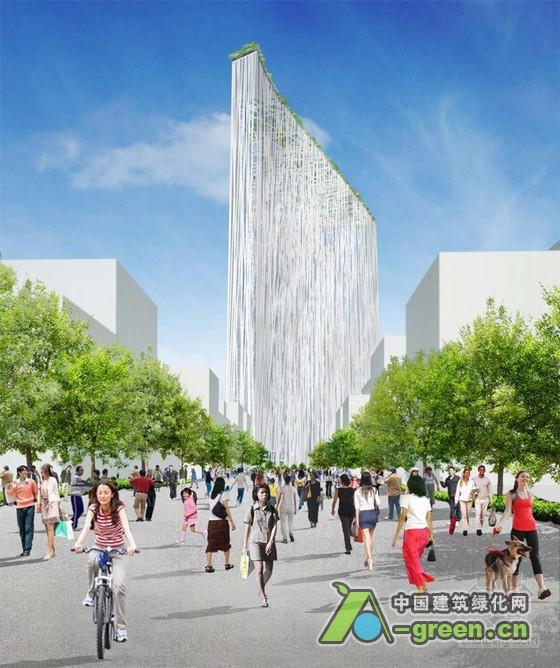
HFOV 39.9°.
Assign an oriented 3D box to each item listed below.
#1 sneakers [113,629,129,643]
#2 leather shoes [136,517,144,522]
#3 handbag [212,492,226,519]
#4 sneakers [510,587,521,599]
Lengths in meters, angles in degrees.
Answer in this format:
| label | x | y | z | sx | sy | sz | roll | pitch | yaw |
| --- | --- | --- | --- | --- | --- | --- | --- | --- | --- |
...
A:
| label | x | y | z | sx | sy | sz | roll | pitch | yaw |
| --- | --- | --- | --- | --- | --- | --- | --- | --- | --- |
| sneakers | -1.423 | 2.688 | 6.859 | 0.105 | 0.116 | 0.155 | 3 | -7 | -15 |
| leather shoes | -4.288 | 5.654 | 23.541 | 0.101 | 0.150 | 0.312 | 4 | -6 | -31 |
| handbag | -0.985 | 2.735 | 12.261 | 0.325 | 0.494 | 0.193 | 3 | -2 | -15 |
| sneakers | 2.883 | 3.165 | 9.413 | 0.077 | 0.102 | 0.211 | 1 | -8 | 4 |
